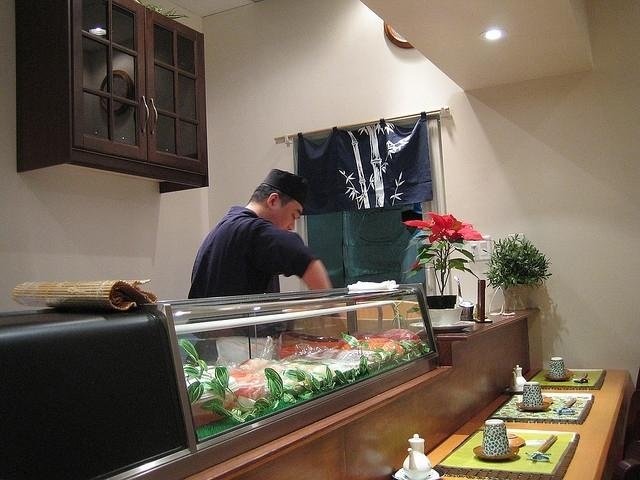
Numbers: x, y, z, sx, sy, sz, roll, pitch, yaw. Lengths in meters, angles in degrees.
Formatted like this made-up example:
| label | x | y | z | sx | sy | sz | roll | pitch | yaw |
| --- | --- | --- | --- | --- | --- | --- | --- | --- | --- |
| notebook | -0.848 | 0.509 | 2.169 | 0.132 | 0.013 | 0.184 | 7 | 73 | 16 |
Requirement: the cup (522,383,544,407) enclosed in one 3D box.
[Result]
| label | x | y | z | sx | sy | sz | roll | pitch | yaw |
| --- | --- | --- | --- | --- | --- | --- | --- | --- | --- |
| cup | 0.904 | 0.658 | 1.777 | 0.071 | 0.102 | 0.101 | -1 | -10 | 5 |

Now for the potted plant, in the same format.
| label | x | y | z | sx | sy | sz | roll | pitch | yaw |
| --- | --- | --- | --- | --- | --- | --- | --- | --- | --- |
| potted plant | 1.337 | 0.200 | 2.867 | 0.471 | 0.618 | 0.433 | 3 | -4 | -37 |

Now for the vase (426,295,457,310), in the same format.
| label | x | y | z | sx | sy | sz | roll | pitch | yaw |
| --- | --- | --- | --- | --- | --- | --- | --- | --- | --- |
| vase | 0.496 | 0.254 | 1.707 | 0.078 | 0.058 | 0.081 | -5 | -10 | 20 |

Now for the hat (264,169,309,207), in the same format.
| label | x | y | z | sx | sy | sz | roll | pitch | yaw |
| --- | --- | --- | --- | --- | --- | --- | --- | --- | --- |
| hat | -0.173 | -0.281 | 2.206 | 0.210 | 0.120 | 0.151 | 20 | -4 | -33 |

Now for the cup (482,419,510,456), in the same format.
| label | x | y | z | sx | sy | sz | roll | pitch | yaw |
| --- | --- | --- | --- | --- | --- | --- | --- | --- | --- |
| cup | 0.540 | 0.597 | 1.282 | 0.072 | 0.086 | 0.085 | -1 | 3 | 25 |
